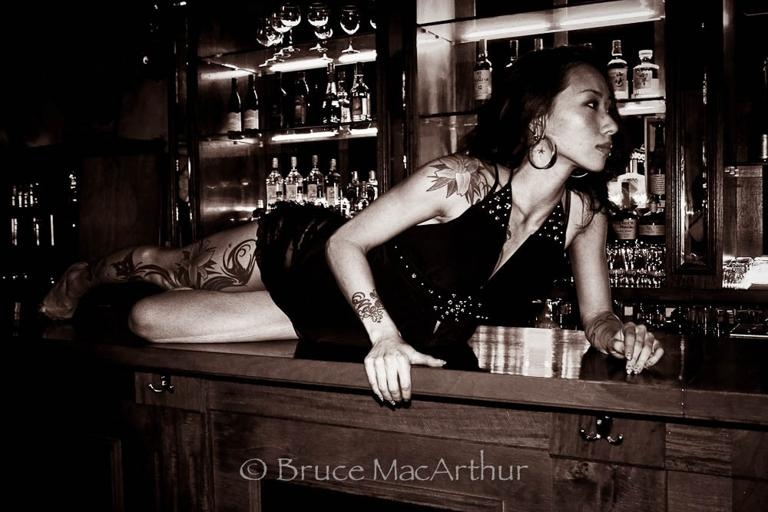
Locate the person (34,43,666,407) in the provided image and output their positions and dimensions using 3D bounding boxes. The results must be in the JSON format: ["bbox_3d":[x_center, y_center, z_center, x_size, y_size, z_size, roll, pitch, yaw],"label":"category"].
[{"bbox_3d":[-0.087,-0.075,3.128,1.946,1.018,1.062,0,-2,25],"label":"person"}]
